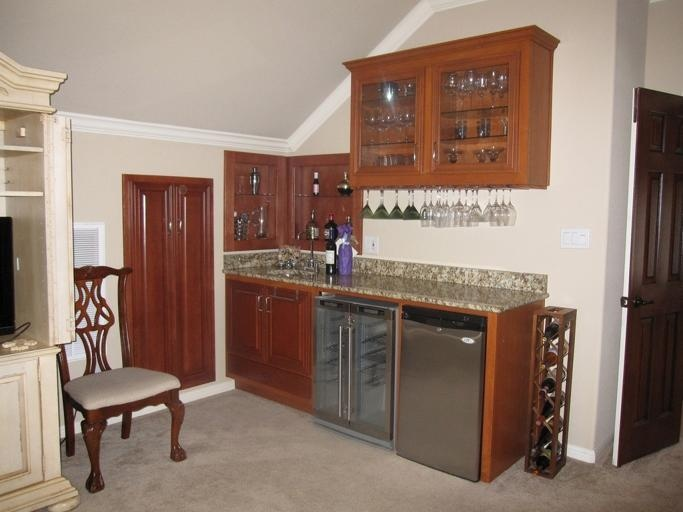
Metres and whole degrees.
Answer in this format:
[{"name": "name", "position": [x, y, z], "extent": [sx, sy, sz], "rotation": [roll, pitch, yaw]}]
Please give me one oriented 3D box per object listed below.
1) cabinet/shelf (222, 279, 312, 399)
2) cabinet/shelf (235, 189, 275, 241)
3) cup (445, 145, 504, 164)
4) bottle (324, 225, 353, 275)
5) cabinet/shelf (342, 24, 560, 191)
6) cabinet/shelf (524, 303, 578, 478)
[{"name": "cabinet/shelf", "position": [-0.609, 0.691, 4.668], "extent": [0.910, 0.926, 0.355], "rotation": [5, 6, 42]}, {"name": "cabinet/shelf", "position": [-0.836, -0.400, 5.160], "extent": [0.144, 0.443, 0.429], "rotation": [5, 8, 41]}, {"name": "cup", "position": [0.945, -0.725, 3.914], "extent": [0.433, 0.119, 0.061], "rotation": [11, 15, 42]}, {"name": "bottle", "position": [-0.016, -0.080, 4.768], "extent": [0.234, 0.435, 0.425], "rotation": [0, 11, 0]}, {"name": "cabinet/shelf", "position": [0.761, -1.044, 4.231], "extent": [1.446, 1.115, 0.448], "rotation": [3, 4, 33]}, {"name": "cabinet/shelf", "position": [1.452, 0.911, 3.793], "extent": [0.264, 1.095, 0.476], "rotation": [6, 12, 27]}]
